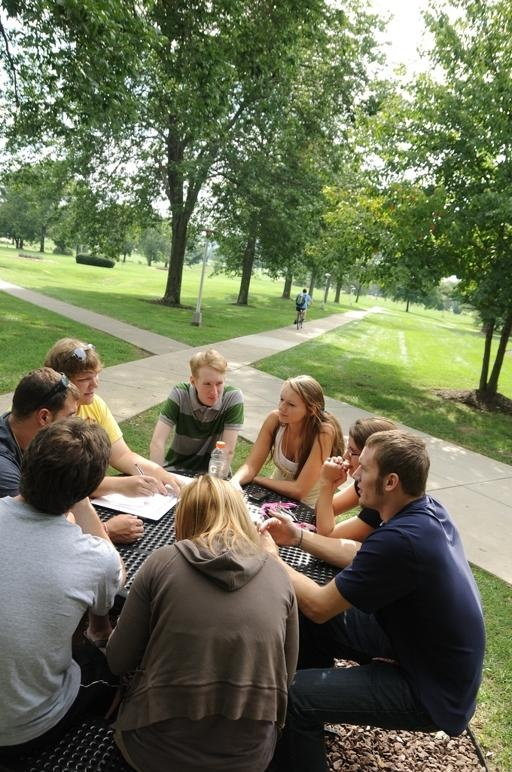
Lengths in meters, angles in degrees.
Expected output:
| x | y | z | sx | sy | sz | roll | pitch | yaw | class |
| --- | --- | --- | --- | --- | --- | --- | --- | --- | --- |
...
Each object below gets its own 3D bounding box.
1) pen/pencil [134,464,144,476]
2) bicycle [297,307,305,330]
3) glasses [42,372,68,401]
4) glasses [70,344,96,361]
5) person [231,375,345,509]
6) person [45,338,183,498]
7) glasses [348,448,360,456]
| x | y | z | sx | sy | sz | roll | pitch | yaw | class |
| --- | --- | --- | --- | --- | --- | --- | --- | --- | --- |
| -0.743 | 0.528 | 3.341 | 0.015 | 0.074 | 0.021 | -25 | 11 | -28 | pen/pencil |
| 2.013 | -3.180 | 23.729 | 0.517 | 0.630 | 1.039 | 3 | 42 | 4 | bicycle |
| -0.976 | -0.002 | 2.551 | 0.029 | 0.097 | 0.077 | 44 | 21 | -17 | glasses |
| -1.111 | -0.206 | 3.299 | 0.092 | 0.125 | 0.041 | 16 | 44 | -49 | glasses |
| 0.207 | 0.383 | 3.595 | 0.884 | 0.870 | 0.580 | 8 | 0 | -38 | person |
| -0.909 | 0.294 | 3.375 | 1.122 | 1.138 | 0.484 | 13 | 17 | 30 | person |
| 0.565 | 0.373 | 3.015 | 0.031 | 0.050 | 0.034 | 1 | 41 | -4 | glasses |
